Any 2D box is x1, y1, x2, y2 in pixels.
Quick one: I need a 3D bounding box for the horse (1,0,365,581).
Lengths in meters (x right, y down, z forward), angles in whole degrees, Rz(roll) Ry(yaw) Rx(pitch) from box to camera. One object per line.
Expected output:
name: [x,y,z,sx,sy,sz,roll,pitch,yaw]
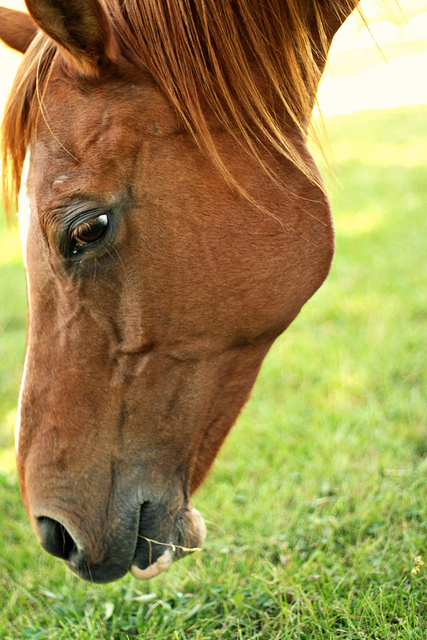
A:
horse: [-0.134,-0.055,1.817,1.009,1.462,0.421,-19,27,-26]
